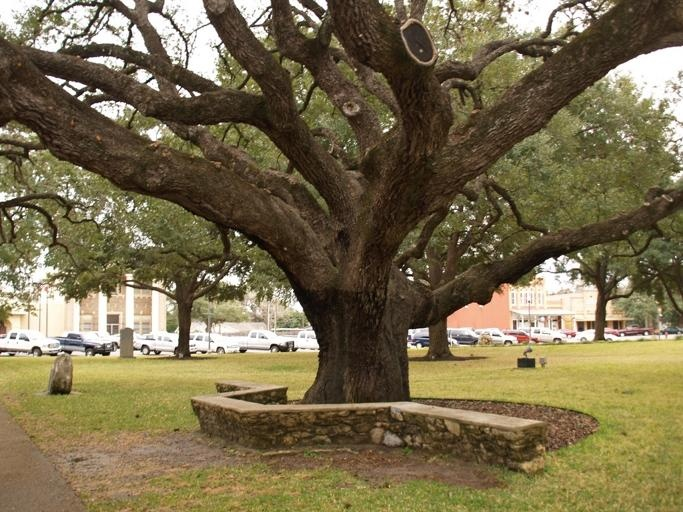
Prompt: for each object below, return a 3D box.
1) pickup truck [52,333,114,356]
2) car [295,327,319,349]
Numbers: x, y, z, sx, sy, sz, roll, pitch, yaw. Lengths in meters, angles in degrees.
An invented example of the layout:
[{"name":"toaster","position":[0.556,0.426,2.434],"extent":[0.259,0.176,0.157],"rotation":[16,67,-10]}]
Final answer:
[{"name":"pickup truck","position":[-18.433,6.212,46.835],"extent":[3.757,1.667,2.818],"rotation":[-4,-4,29]},{"name":"car","position":[-3.048,6.965,54.640],"extent":[1.671,1.611,3.047],"rotation":[-2,-4,-1]}]
